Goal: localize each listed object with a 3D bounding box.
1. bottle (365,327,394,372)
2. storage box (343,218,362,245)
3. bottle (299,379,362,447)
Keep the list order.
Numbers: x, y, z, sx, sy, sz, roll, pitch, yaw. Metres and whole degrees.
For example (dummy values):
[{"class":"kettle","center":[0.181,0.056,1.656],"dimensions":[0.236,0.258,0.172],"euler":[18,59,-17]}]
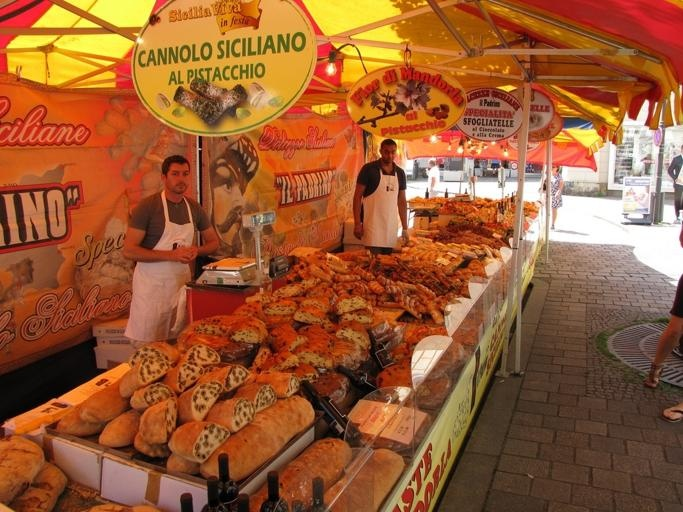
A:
[{"class":"bottle","center":[0.274,0.652,3.043],"dimensions":[0.080,0.255,0.201],"euler":[-18,-12,39]},{"class":"storage box","center":[0.195,-0.525,10.492],"dimensions":[0.564,0.726,0.751],"euler":[1,13,9]},{"class":"bottle","center":[-0.134,0.789,2.322],"dimensions":[0.487,0.100,0.203],"euler":[38,31,23]}]
